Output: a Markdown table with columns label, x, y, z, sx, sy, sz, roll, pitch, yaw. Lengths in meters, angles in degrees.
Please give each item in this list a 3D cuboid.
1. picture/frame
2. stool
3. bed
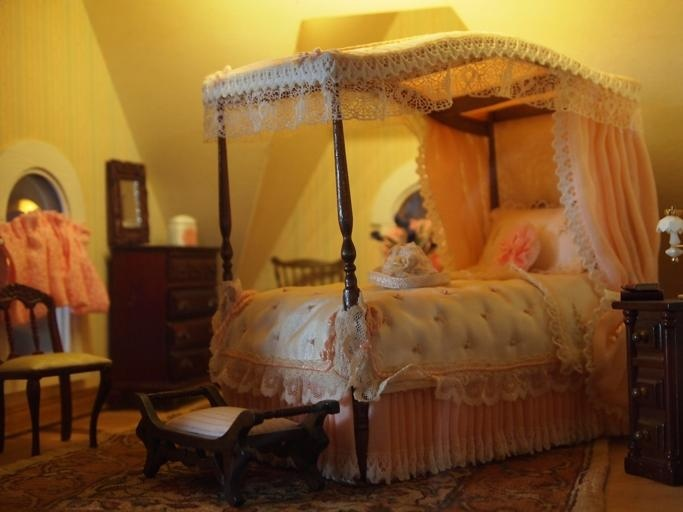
| label | x | y | z | sx | sy | sz | roll | pitch | yaw |
| --- | --- | --- | --- | --- | --- | --- | --- | --- | --- |
| picture/frame | -1.834 | -0.440 | 5.178 | 0.065 | 0.726 | 0.391 | 0 | 3 | 34 |
| stool | -0.668 | 0.921 | 3.380 | 0.535 | 0.511 | 1.027 | 0 | -5 | -43 |
| bed | 0.755 | -0.067 | 4.329 | 2.647 | 2.504 | 1.894 | -2 | 2 | -28 |
